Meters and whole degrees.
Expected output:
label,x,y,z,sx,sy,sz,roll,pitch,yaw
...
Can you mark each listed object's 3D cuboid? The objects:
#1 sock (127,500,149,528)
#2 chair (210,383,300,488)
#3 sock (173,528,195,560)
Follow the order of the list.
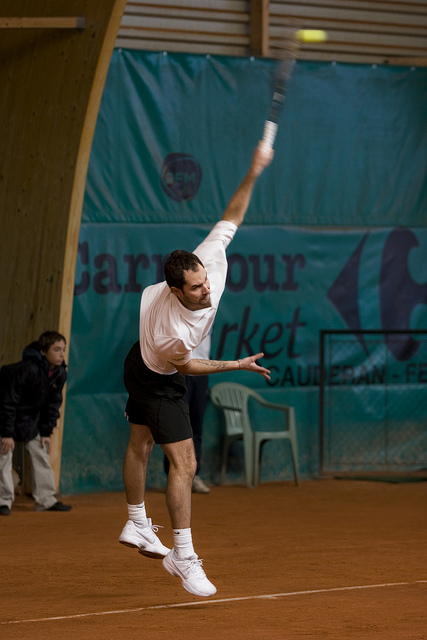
label,x,y,z,sx,sy,sz,roll,pitch,yaw
sock,-0.328,0.845,3.434,0.089,0.099,0.107,1,-4,-9
chair,0.332,0.930,6.453,0.598,0.820,0.664,1,-7,-20
sock,-0.117,0.864,3.050,0.074,0.122,0.071,2,-4,-15
